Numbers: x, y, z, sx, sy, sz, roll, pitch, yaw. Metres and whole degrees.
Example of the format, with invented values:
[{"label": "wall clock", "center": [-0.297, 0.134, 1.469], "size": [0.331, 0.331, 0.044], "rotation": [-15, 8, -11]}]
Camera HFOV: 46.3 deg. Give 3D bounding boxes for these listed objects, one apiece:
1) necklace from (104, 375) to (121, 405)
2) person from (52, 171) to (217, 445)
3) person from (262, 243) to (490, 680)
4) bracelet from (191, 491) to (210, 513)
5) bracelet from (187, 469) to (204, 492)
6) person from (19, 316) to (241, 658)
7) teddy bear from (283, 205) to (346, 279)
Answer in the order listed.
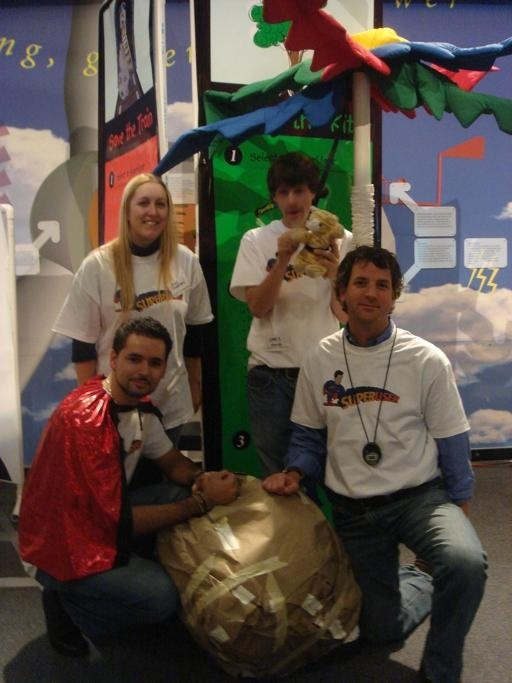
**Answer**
[{"label": "necklace", "center": [-0.497, 0.162, 2.024], "size": [0.075, 0.088, 0.039], "rotation": [2, -14, -37]}, {"label": "person", "center": [-0.492, 0.076, 2.523], "size": [0.713, 1.440, 0.363], "rotation": [-7, 16, -28]}, {"label": "person", "center": [0.449, 0.359, 2.002], "size": [0.703, 1.339, 0.421], "rotation": [3, 6, 37]}, {"label": "bracelet", "center": [-0.183, 0.525, 1.961], "size": [0.061, 0.052, 0.056], "rotation": [-6, -23, -28]}, {"label": "bracelet", "center": [-0.213, 0.491, 2.118], "size": [0.031, 0.078, 0.059], "rotation": [5, -24, -15]}, {"label": "person", "center": [-0.444, 0.480, 2.003], "size": [0.638, 1.106, 0.452], "rotation": [-4, 5, -35]}, {"label": "teddy bear", "center": [0.221, -0.355, 2.174], "size": [0.182, 0.255, 0.151], "rotation": [15, 22, 29]}]
